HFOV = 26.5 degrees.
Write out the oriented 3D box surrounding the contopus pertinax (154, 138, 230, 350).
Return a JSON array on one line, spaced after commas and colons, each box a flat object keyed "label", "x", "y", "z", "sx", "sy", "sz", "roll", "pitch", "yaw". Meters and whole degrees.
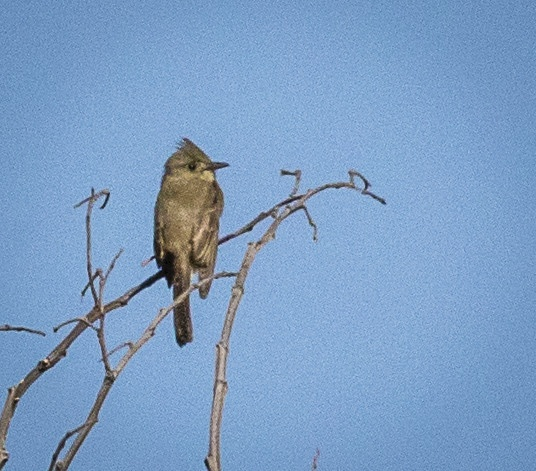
[{"label": "contopus pertinax", "x": -0.539, "y": 0.031, "z": 7.628, "sx": 0.555, "sy": 1.248, "sz": 0.327, "roll": 21, "pitch": -32, "yaw": -34}]
